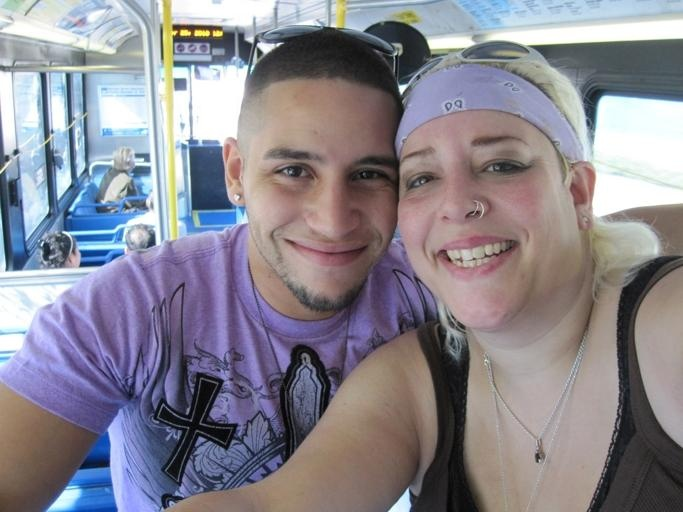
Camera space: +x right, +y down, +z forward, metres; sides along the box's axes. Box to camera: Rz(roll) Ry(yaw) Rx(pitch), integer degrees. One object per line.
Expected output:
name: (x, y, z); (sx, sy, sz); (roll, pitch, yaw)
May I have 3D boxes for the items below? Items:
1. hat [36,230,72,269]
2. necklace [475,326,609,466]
hat: (-2.920, -0.090, 6.563); (0.362, 0.462, 0.519); (-1, 3, -4)
necklace: (0.785, 0.537, 2.426); (0.448, 0.574, 0.048); (-9, -17, 28)
